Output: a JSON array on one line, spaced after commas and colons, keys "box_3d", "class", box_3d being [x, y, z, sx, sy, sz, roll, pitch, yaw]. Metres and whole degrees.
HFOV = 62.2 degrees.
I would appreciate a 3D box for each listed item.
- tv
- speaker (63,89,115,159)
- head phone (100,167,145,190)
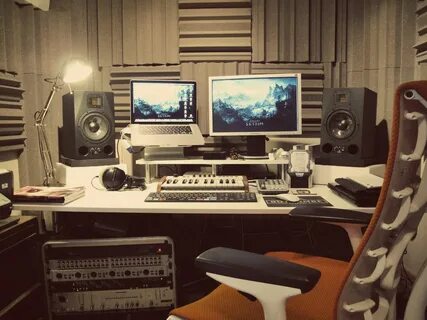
[{"box_3d": [0.335, -0.377, 2.814, 0.653, 0.650, 0.209, 0, 1, 3], "class": "tv"}, {"box_3d": [-0.930, -0.257, 2.667, 0.305, 0.586, 0.551, -1, 1, -38], "class": "speaker"}, {"box_3d": [-0.634, 0.145, 2.498, 0.195, 0.114, 0.184, 4, 5, -23], "class": "head phone"}]
